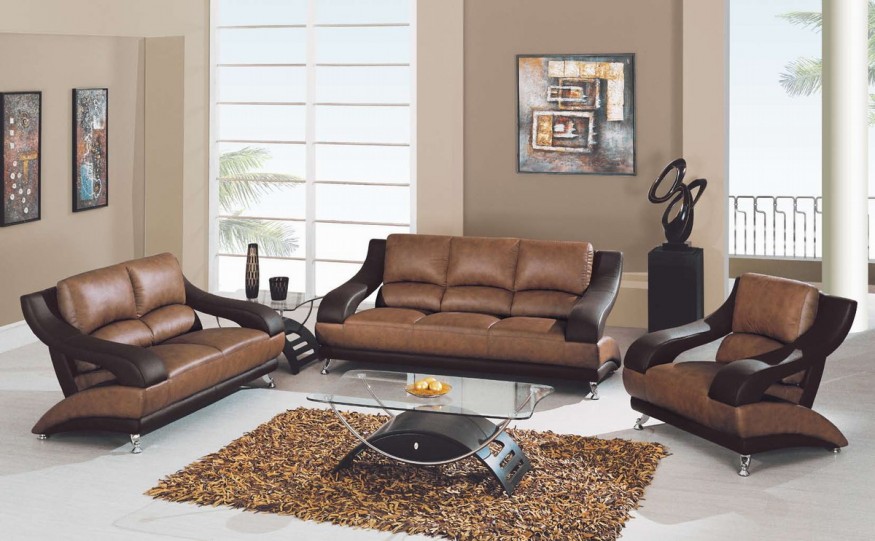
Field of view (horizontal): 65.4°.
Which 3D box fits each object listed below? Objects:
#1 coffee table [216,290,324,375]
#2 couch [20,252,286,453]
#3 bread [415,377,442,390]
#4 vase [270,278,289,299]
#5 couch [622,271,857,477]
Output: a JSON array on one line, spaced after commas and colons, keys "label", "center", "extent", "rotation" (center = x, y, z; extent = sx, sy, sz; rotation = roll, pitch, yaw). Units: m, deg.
[{"label": "coffee table", "center": [-1.701, 0.658, 7.454], "extent": [1.139, 0.600, 0.963], "rotation": [6, 7, 23]}, {"label": "couch", "center": [-2.457, 0.623, 5.855], "extent": [1.201, 1.342, 1.683], "rotation": [6, 12, 29]}, {"label": "bread", "center": [-0.064, 0.820, 4.967], "extent": [0.130, 0.051, 0.090], "rotation": [0, 0, 9]}, {"label": "vase", "center": [-1.622, 0.188, 7.119], "extent": [0.225, 0.215, 0.228], "rotation": [-1, -1, -39]}, {"label": "couch", "center": [2.349, 0.719, 5.649], "extent": [1.728, 1.344, 1.713], "rotation": [-5, 9, -26]}]
